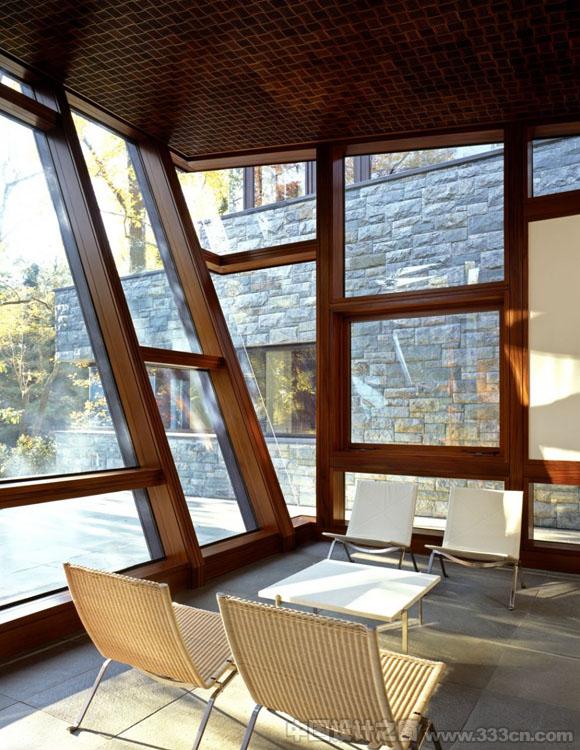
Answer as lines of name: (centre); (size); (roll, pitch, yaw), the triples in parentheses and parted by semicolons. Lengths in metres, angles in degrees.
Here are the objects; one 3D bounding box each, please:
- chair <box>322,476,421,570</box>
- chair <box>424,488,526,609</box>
chair: (0.677, 1.155, 4.622); (0.735, 0.796, 0.783); (-3, -10, 29)
chair: (1.338, 1.224, 4.152); (0.647, 0.653, 0.772); (-1, 0, 27)
